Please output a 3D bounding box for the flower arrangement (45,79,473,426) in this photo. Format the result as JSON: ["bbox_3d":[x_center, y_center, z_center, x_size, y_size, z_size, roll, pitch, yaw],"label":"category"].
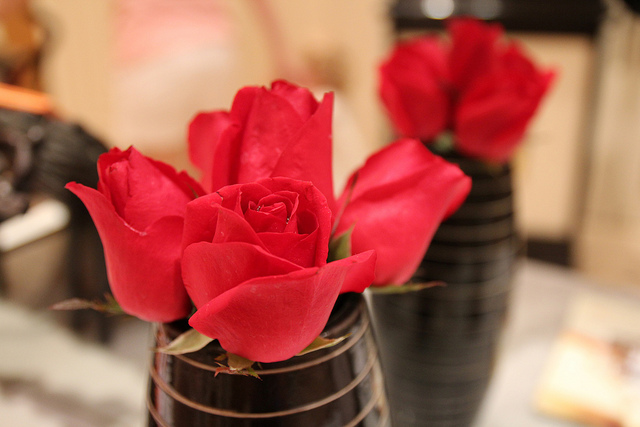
[{"bbox_3d":[-0.042,0.024,0.340,0.188,0.179,0.166,4,7,-18],"label":"flower arrangement"}]

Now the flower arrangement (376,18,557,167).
[{"bbox_3d":[0.087,-0.066,0.366,0.097,0.058,0.086,-7,69,6],"label":"flower arrangement"}]

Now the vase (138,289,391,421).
[{"bbox_3d":[-0.024,0.042,0.245,0.080,0.072,0.077,-3,-1,2],"label":"vase"}]

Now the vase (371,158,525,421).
[{"bbox_3d":[0.079,0.050,0.338,0.098,0.158,0.054,-21,34,-19],"label":"vase"}]
